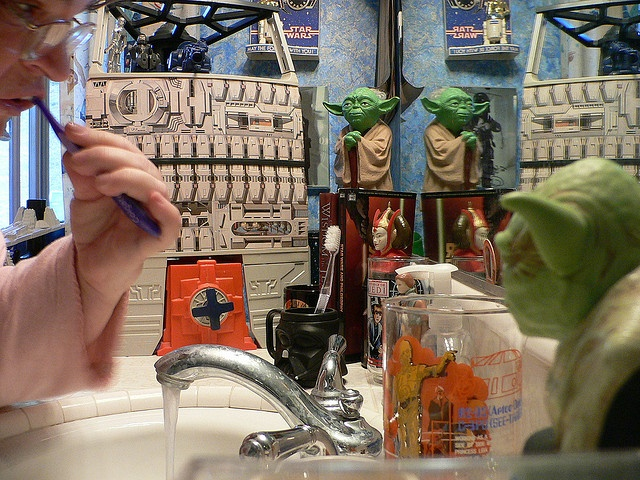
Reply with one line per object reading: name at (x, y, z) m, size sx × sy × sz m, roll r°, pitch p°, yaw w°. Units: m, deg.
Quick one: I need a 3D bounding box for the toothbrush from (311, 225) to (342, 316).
toothbrush at (0.007, 0.051, 1.014) m, size 0.031 × 0.188 × 0.028 m, roll 1°, pitch -22°, yaw 11°

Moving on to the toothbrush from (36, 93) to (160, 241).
toothbrush at (-0.280, -0.090, 0.720) m, size 0.132 × 0.168 × 0.157 m, roll -4°, pitch 8°, yaw -17°

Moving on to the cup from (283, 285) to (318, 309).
cup at (-0.041, 0.107, 1.109) m, size 0.048 × 0.038 × 0.049 m, roll 2°, pitch 1°, yaw 0°

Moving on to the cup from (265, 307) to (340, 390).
cup at (-0.029, 0.192, 0.973) m, size 0.130 × 0.124 × 0.099 m, roll 0°, pitch -1°, yaw 1°
